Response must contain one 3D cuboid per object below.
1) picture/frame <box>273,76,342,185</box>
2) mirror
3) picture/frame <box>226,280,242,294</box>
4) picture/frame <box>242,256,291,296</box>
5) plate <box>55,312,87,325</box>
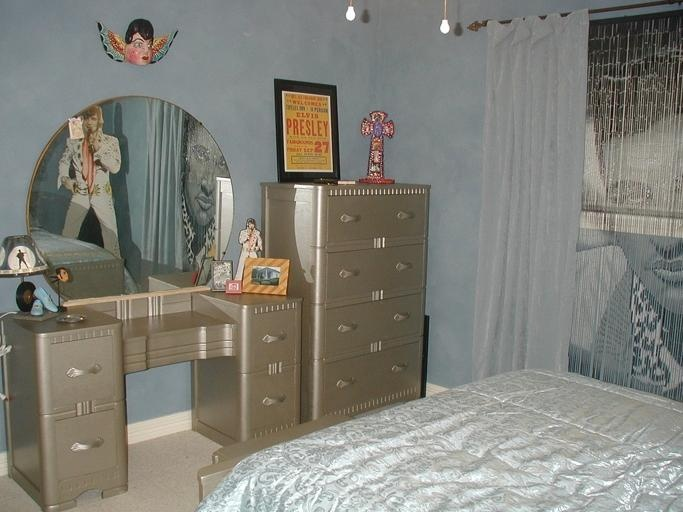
[{"bbox_3d":[-0.251,-0.890,4.034,0.549,0.708,0.091,-7,7,-40],"label":"picture/frame"},{"bbox_3d":[-1.280,-0.317,3.336,1.169,1.465,0.067,-7,15,-38],"label":"mirror"},{"bbox_3d":[-0.670,0.197,3.529,0.076,0.063,0.080,-2,10,-7],"label":"picture/frame"},{"bbox_3d":[-0.483,0.134,3.567,0.215,0.199,0.022,1,-1,7],"label":"picture/frame"},{"bbox_3d":[-1.428,0.327,2.990,0.134,0.033,0.227,-5,6,-28],"label":"plate"}]
